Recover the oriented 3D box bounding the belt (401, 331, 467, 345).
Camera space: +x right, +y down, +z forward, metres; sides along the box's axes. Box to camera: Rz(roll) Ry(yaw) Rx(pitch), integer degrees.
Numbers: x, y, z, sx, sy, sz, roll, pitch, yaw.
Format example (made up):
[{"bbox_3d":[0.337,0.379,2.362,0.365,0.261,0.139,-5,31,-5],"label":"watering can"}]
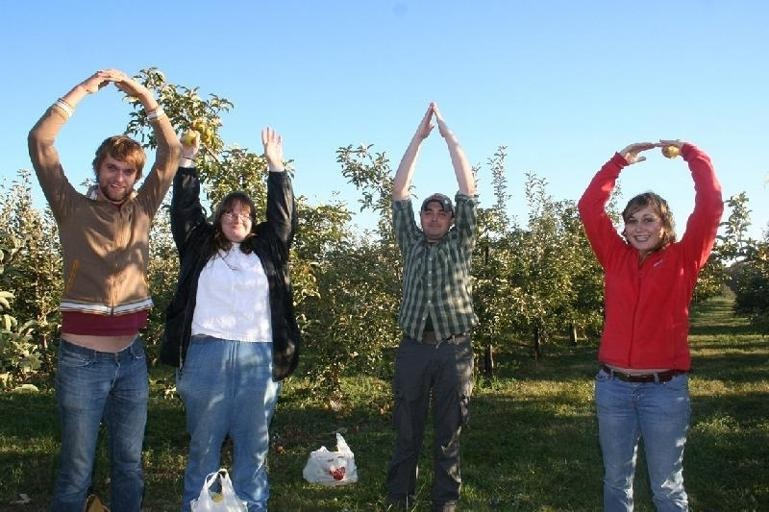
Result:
[{"bbox_3d":[0.602,0.958,8.160,0.773,0.141,0.233,1,-4,1],"label":"belt"}]
